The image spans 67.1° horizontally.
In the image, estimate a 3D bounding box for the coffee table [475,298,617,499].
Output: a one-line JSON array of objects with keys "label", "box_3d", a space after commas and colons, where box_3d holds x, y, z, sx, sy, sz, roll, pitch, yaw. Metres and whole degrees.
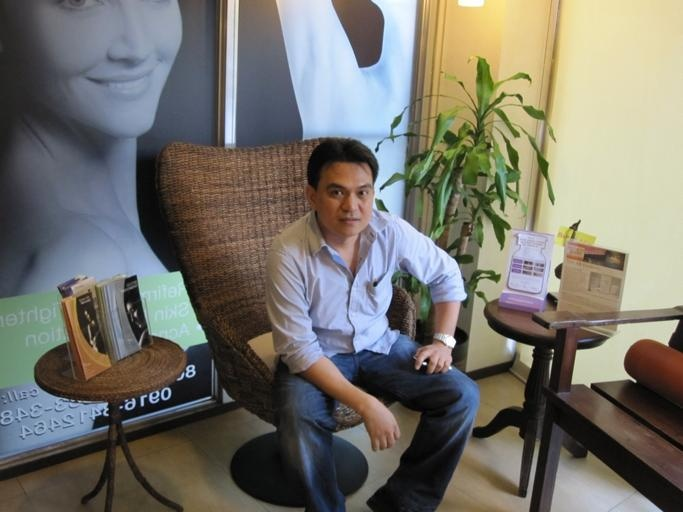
[{"label": "coffee table", "box_3d": [0.903, 0.638, 2.247, 0.511, 0.726, 0.509, -21, 32, -38]}]

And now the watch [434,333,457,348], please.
[{"label": "watch", "box_3d": [0.427, 0.340, 2.124, 0.081, 0.056, 0.085, 13, -19, 26]}]

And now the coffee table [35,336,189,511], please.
[{"label": "coffee table", "box_3d": [-0.974, 0.706, 2.125, 0.412, 0.514, 0.445, 24, 31, 25]}]
